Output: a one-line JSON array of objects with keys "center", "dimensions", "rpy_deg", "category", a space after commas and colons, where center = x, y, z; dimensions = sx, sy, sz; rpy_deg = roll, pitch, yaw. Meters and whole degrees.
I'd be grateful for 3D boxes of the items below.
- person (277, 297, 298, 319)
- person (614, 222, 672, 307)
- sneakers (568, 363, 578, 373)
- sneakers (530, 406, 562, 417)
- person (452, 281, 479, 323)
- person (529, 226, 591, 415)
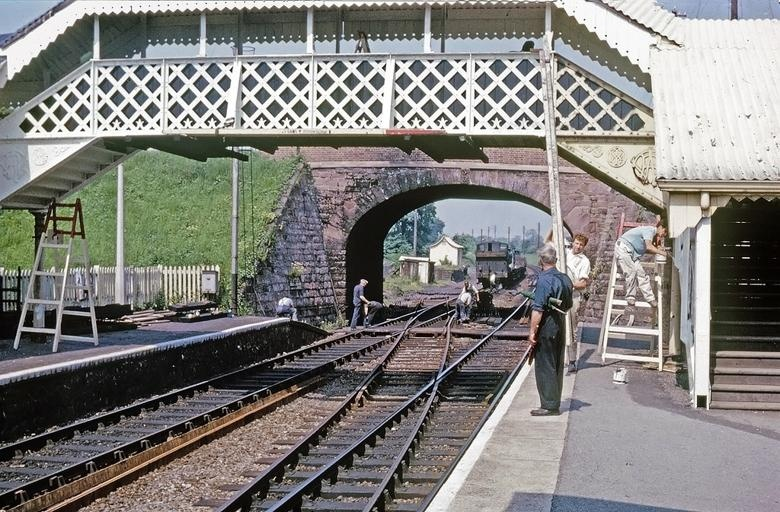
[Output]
[{"center": [-3.634, 1.854, 26.542], "dimensions": [0.559, 0.699, 0.962], "rpy_deg": [1, -3, -1], "category": "person"}, {"center": [5.376, 0.181, 15.815], "dimensions": [1.053, 1.769, 0.965], "rpy_deg": [3, -3, -43], "category": "person"}, {"center": [3.683, 2.226, 15.169], "dimensions": [0.244, 0.297, 0.164], "rpy_deg": [0, -5, 13], "category": "sneakers"}, {"center": [2.522, 2.516, 12.081], "dimensions": [0.362, 0.144, 0.169], "rpy_deg": [3, -2, -3], "category": "sneakers"}, {"center": [2.997, 1.429, 29.135], "dimensions": [0.863, 0.608, 2.068], "rpy_deg": [-3, 35, 14], "category": "person"}, {"center": [2.546, 1.191, 12.087], "dimensions": [0.864, 2.730, 0.408], "rpy_deg": [2, -3, -27], "category": "person"}]
